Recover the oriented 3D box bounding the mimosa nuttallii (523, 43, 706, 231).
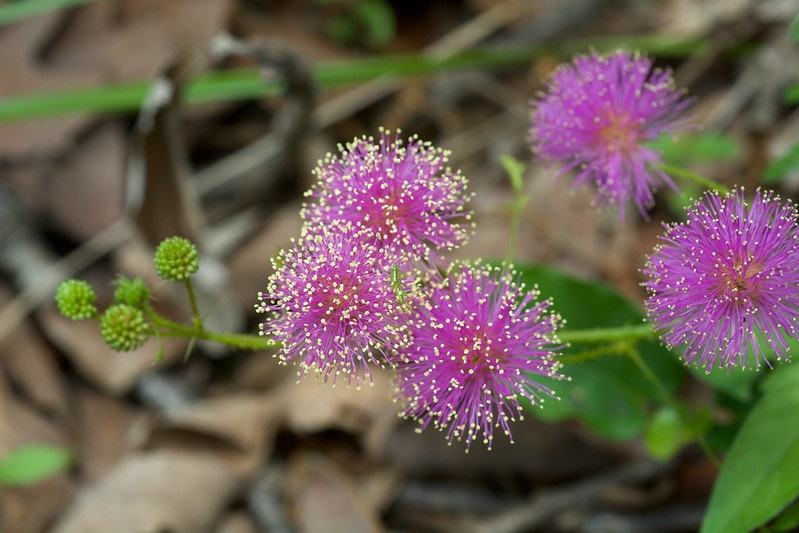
[{"bbox_3d":[0.646,-0.449,2.475,0.456,0.350,0.385,22,54,20],"label":"mimosa nuttallii"}]

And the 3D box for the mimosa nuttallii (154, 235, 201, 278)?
[{"bbox_3d":[-0.692,-0.015,2.452,0.123,0.128,0.126,-2,53,0],"label":"mimosa nuttallii"}]

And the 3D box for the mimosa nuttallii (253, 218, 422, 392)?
[{"bbox_3d":[-0.196,0.127,2.355,0.449,0.358,0.436,0,50,3],"label":"mimosa nuttallii"}]

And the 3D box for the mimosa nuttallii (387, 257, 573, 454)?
[{"bbox_3d":[0.272,0.260,2.454,0.478,0.518,0.638,15,52,15],"label":"mimosa nuttallii"}]
